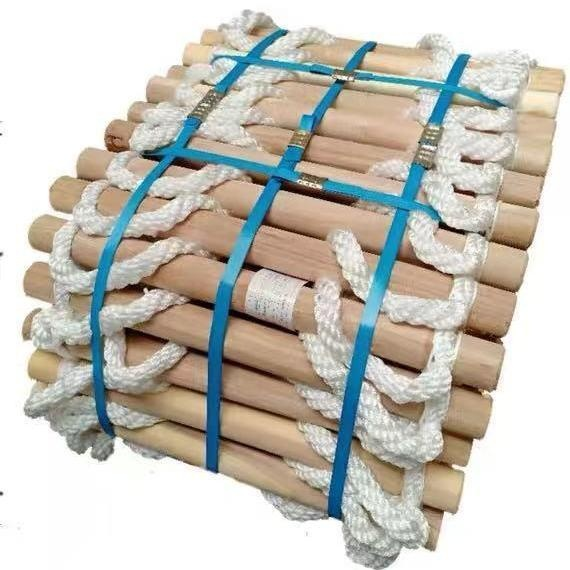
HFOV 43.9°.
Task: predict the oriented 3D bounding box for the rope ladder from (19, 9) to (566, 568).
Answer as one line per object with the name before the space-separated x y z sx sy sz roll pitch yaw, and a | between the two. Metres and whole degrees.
rope ladder | -0.072 0.069 2.290 1.504 1.352 0.656 12 -17 13
